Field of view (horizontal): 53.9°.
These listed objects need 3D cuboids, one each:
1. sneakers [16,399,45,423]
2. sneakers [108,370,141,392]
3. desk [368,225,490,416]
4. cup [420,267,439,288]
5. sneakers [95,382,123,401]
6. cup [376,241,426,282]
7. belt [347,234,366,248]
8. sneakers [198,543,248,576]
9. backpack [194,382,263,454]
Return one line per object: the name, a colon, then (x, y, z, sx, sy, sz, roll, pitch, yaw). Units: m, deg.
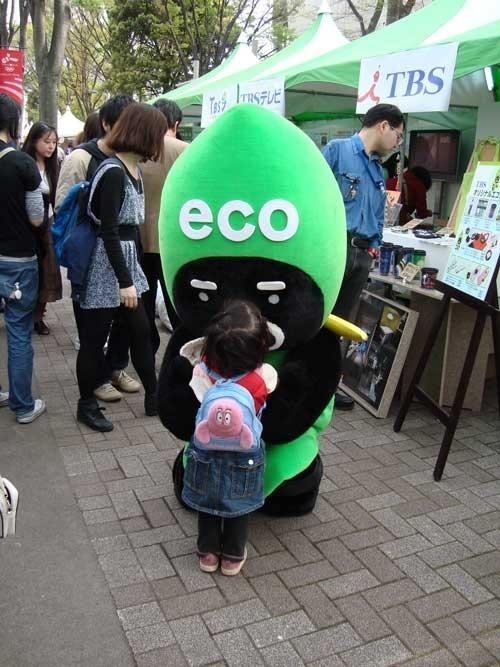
sneakers: (-1.484, 0.511, 3.378, 0.078, 0.089, 0.224, 9, 26, 12)
sneakers: (-1.009, 0.365, 3.984, 0.290, 0.119, 0.117, 21, 28, 37)
desk: (1.251, -0.050, 3.441, 0.365, 1.089, 1.141, 7, 16, -30)
cup: (1.229, -0.401, 3.435, 0.147, 0.156, 0.149, 0, 10, 0)
sneakers: (-1.058, 0.439, 3.722, 0.100, 0.090, 0.208, -4, 4, -36)
cup: (1.164, -0.519, 3.809, 0.258, 0.302, 0.437, -12, 22, -39)
belt: (0.775, -0.660, 3.540, 0.117, 0.042, 0.091, 30, 41, 0)
sneakers: (-0.109, 0.889, 1.935, 0.110, 0.082, 0.197, 2, 7, 8)
backpack: (-0.066, 0.272, 1.672, 0.201, 0.217, 0.223, 4, 10, 0)
